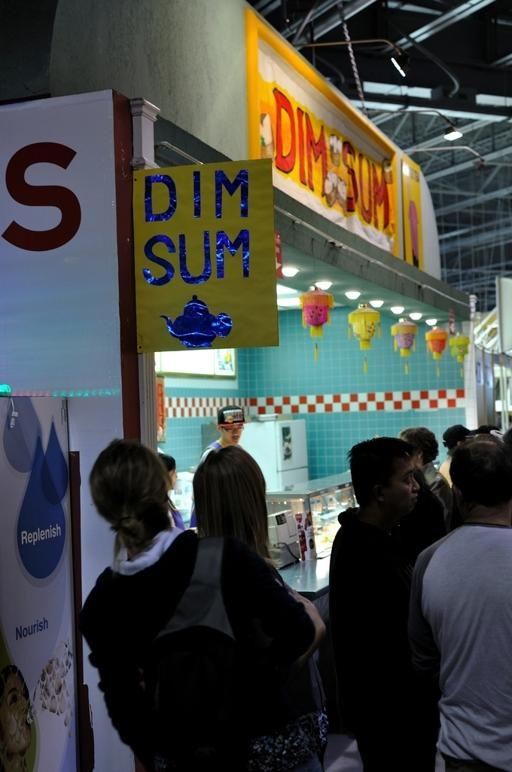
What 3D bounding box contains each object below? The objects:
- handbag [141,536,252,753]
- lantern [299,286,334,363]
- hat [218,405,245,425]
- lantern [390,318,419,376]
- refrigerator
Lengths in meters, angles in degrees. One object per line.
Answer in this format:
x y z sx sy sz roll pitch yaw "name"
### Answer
-0.112 0.504 1.311 0.152 0.385 0.114 -1 -2 -28 "handbag"
0.377 -0.404 4.276 0.187 0.446 0.184 3 -8 -24 "lantern"
-0.159 0.199 4.488 0.166 0.123 0.147 -2 -1 -10 "hat"
1.448 -0.377 6.600 0.201 0.497 0.212 9 -3 12 "lantern"
0.060 0.716 7.772 0.665 1.406 0.966 -2 -4 22 "refrigerator"
